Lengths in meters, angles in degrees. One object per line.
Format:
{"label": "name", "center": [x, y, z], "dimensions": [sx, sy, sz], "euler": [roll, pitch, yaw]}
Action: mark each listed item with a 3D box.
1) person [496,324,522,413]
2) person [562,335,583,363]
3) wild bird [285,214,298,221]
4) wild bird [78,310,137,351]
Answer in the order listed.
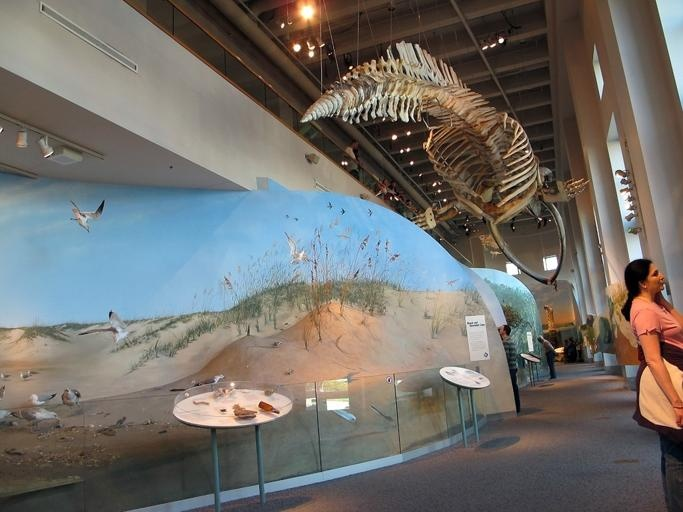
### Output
{"label": "person", "center": [3.348, 2.190, 7.733], "dimensions": [0.248, 1.292, 1.068], "euler": [-10, -7, 21]}
{"label": "person", "center": [13.283, 5.390, 22.598], "dimensions": [0.885, 1.242, 1.639], "euler": [-13, -8, 35]}
{"label": "wild bird", "center": [-0.882, -0.678, 6.992], "dimensions": [0.107, 0.094, 0.284], "euler": [9, 12, 25]}
{"label": "wild bird", "center": [-3.308, 1.073, 5.743], "dimensions": [0.334, 0.463, 0.802], "euler": [-1, -16, -5]}
